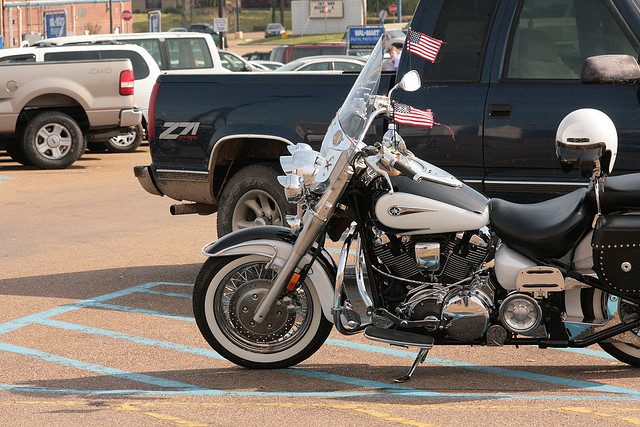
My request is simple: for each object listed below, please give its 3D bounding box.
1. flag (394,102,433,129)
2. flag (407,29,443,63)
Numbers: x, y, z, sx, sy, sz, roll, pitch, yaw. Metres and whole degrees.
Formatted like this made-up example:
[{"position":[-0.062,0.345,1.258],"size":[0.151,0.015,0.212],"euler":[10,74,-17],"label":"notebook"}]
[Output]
[{"position":[0.667,-0.691,5.821],"size":[0.290,0.144,0.076],"euler":[13,-14,23],"label":"flag"},{"position":[0.766,-1.223,5.904],"size":[0.323,0.185,0.025],"euler":[8,5,-38],"label":"flag"}]
